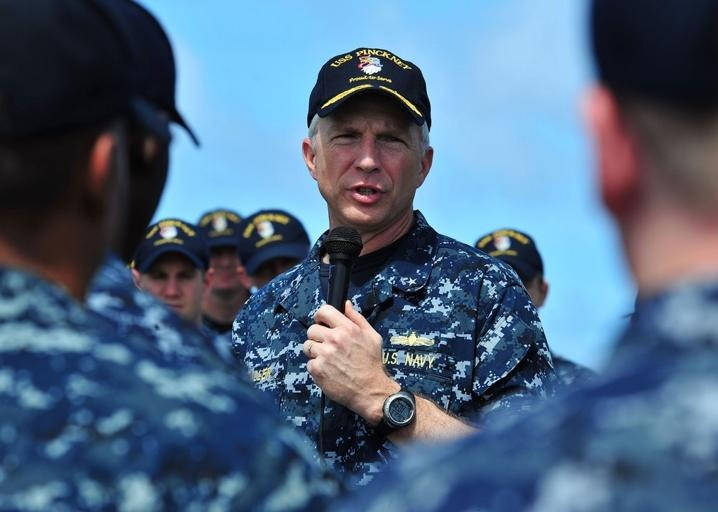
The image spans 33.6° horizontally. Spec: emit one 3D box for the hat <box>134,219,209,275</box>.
[{"bbox_3d":[-0.715,-0.020,4.606,0.267,0.228,0.469,5,-5,-5],"label":"hat"}]

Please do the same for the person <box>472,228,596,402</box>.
[{"bbox_3d":[0.964,0.261,6.599,0.536,0.982,0.462,-11,-1,14],"label":"person"}]

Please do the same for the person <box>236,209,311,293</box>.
[{"bbox_3d":[-0.545,-0.043,7.367,0.477,0.420,0.735,-24,2,0],"label":"person"}]

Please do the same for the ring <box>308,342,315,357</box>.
[{"bbox_3d":[-0.143,0.285,3.557,0.022,0.035,0.033,6,0,5],"label":"ring"}]
